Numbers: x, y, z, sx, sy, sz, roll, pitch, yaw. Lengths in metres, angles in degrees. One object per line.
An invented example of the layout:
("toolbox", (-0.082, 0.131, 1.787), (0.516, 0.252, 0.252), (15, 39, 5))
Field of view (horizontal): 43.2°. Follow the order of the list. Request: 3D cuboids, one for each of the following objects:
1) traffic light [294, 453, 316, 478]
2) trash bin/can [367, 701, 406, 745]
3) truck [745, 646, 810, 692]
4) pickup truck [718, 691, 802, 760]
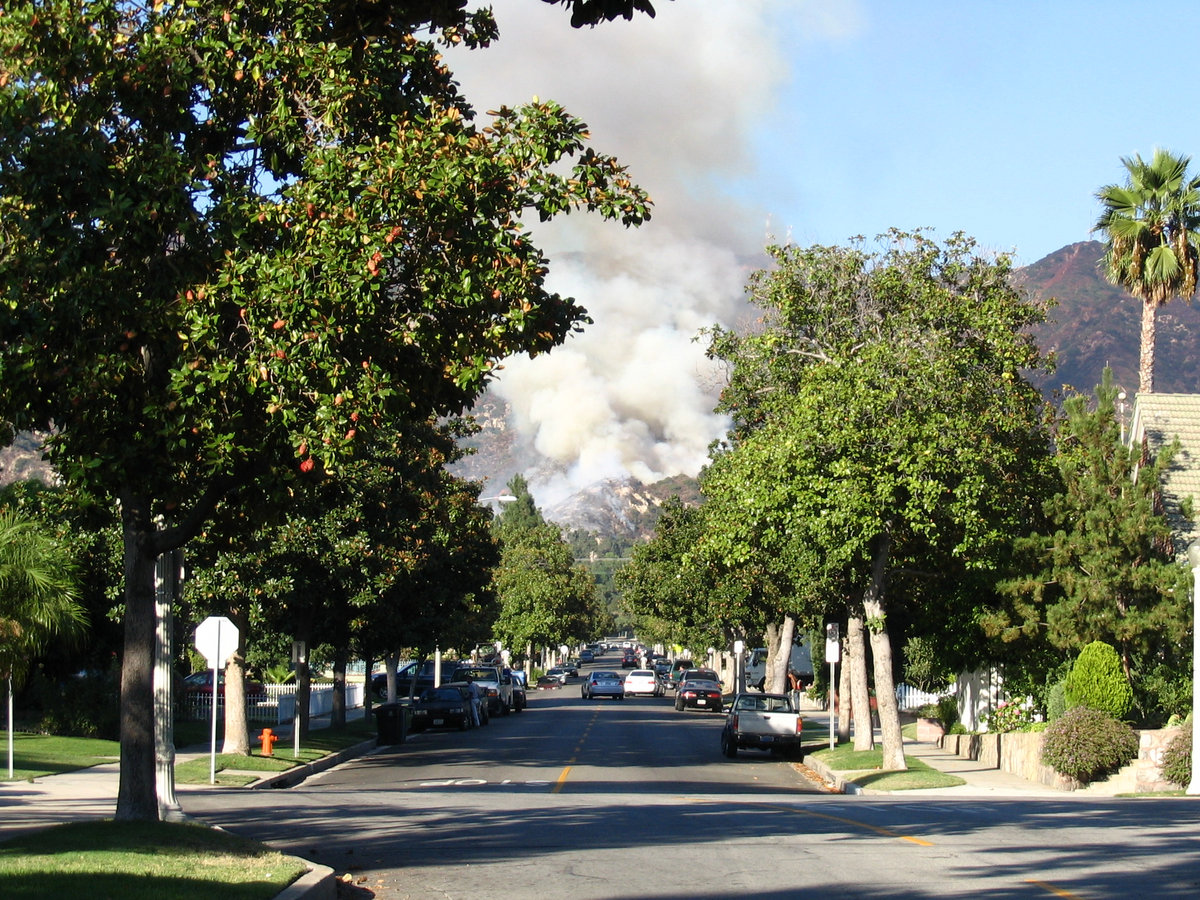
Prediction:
("traffic light", (-3.778, 0.158, 19.656), (0.333, 0.231, 0.428), (-3, 3, -17))
("trash bin/can", (-6.444, 8.376, 46.767), (0.862, 1.417, 1.641), (0, -13, -11))
("truck", (10.138, 12.363, 87.319), (3.491, 2.546, 2.639), (2, -4, 3))
("pickup truck", (4.402, 7.418, 41.153), (2.100, 1.821, 1.099), (1, -11, -14))
